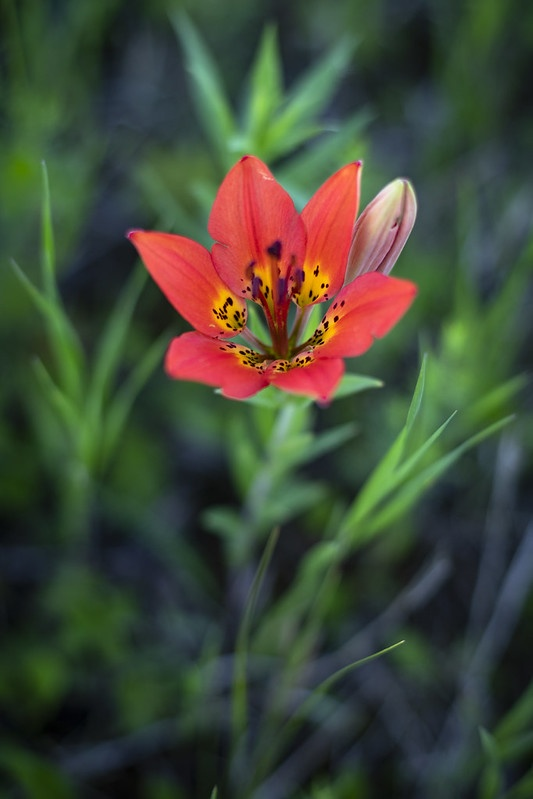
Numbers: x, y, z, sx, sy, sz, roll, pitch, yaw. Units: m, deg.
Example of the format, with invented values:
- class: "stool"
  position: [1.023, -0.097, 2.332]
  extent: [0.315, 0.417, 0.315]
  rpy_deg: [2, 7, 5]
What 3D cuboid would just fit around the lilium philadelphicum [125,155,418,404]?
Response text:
- class: "lilium philadelphicum"
  position: [0.002, -0.063, 0.419]
  extent: [0.162, 0.084, 0.156]
  rpy_deg: [-26, -23, 3]
